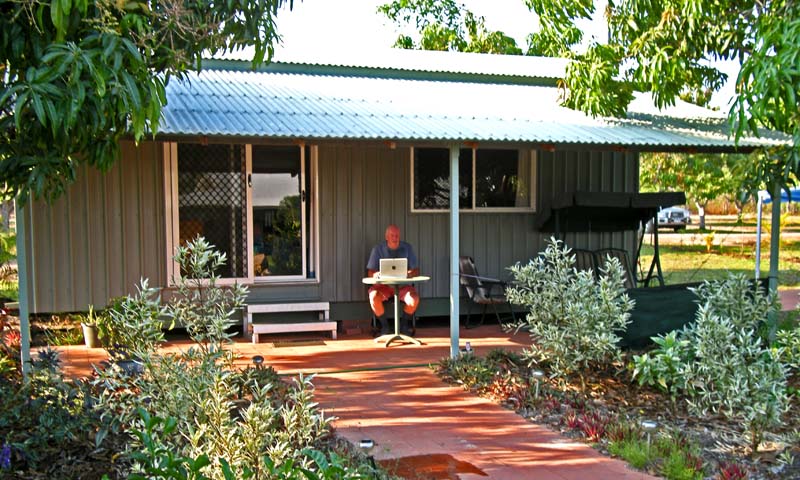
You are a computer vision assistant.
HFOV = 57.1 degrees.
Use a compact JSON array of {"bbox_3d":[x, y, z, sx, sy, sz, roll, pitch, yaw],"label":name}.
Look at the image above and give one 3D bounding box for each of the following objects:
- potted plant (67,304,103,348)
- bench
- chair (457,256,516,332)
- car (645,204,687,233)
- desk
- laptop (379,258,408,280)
[{"bbox_3d":[-5.061,1.427,12.023,0.302,0.691,1.231,-1,8,-25],"label":"potted plant"},{"bbox_3d":[-1.928,1.389,12.899,1.567,0.652,0.735,1,7,-14],"label":"bench"},{"bbox_3d":[1.600,0.955,13.646,0.921,1.293,0.991,-5,2,-5],"label":"chair"},{"bbox_3d":[13.922,-0.975,37.409,1.493,1.208,2.798,5,8,22],"label":"car"},{"bbox_3d":[-0.045,1.242,12.667,0.971,1.084,1.050,0,-4,-13],"label":"desk"},{"bbox_3d":[-0.130,0.502,12.281,0.405,0.318,0.306,1,4,0],"label":"laptop"}]
